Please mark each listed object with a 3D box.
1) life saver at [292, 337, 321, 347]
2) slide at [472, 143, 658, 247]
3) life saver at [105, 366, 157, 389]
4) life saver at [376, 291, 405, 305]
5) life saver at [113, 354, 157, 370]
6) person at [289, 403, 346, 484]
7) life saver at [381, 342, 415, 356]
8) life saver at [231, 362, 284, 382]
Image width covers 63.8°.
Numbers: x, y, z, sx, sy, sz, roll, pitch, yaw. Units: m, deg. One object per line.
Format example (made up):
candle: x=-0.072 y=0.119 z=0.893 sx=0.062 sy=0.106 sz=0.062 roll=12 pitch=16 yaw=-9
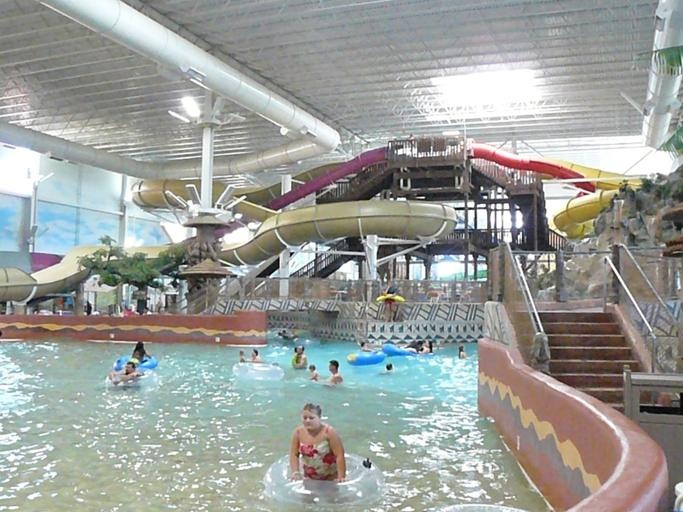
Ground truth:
life saver: x=-1.291 y=3.143 z=20.011 sx=0.931 sy=0.194 sz=0.911 roll=0 pitch=-1 yaw=31
slide: x=8.853 y=-3.107 z=23.534 sx=7.992 sy=3.927 sz=5.026 roll=2 pitch=0 yaw=21
life saver: x=-4.503 y=2.594 z=11.755 sx=1.056 sy=0.333 sz=0.965 roll=0 pitch=-1 yaw=-22
life saver: x=1.624 y=1.390 z=18.061 sx=0.882 sy=0.351 sz=0.422 roll=-1 pitch=-1 yaw=5
life saver: x=-4.831 y=2.516 z=12.906 sx=0.614 sy=0.164 sz=0.614 roll=2 pitch=1 yaw=41
person: x=-0.156 y=1.993 z=5.978 sx=0.558 sy=0.798 sz=0.595 roll=8 pitch=1 yaw=-27
life saver: x=1.626 y=2.665 z=15.528 sx=1.062 sy=0.289 sz=0.434 roll=0 pitch=-1 yaw=-18
life saver: x=-1.970 y=2.665 z=12.712 sx=1.511 sy=0.267 sz=0.873 roll=-2 pitch=-2 yaw=38
